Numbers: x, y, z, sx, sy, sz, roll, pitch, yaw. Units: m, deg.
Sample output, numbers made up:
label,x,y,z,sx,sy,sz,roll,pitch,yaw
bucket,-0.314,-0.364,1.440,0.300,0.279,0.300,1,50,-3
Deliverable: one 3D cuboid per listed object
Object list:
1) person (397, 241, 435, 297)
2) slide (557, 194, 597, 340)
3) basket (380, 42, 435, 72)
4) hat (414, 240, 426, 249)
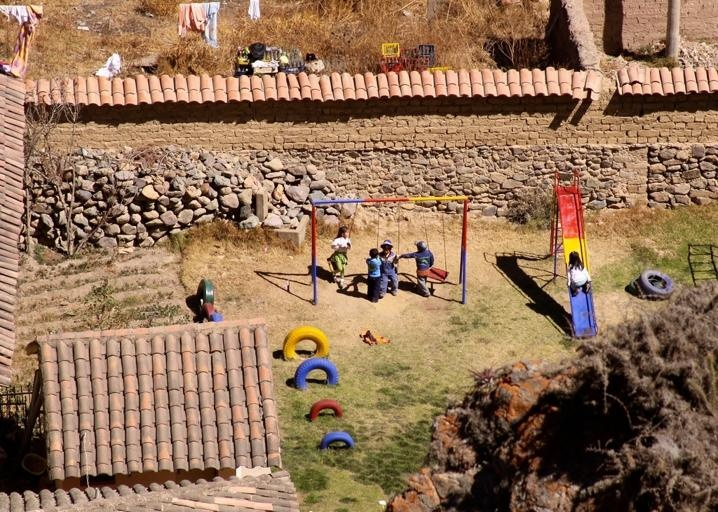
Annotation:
label,x,y,z,sx,sy,sz,roll,pitch,yaw
person,1.419,0.291,27.558,0.643,1.462,0.689,-3,16,4
slide,5.085,0.145,27.458,0.516,0.548,3.578,-5,79,10
basket,1.286,-5.329,31.410,1.225,0.479,0.987,-2,52,-6
hat,1.415,-0.236,27.270,0.171,0.210,0.206,-5,89,-48
